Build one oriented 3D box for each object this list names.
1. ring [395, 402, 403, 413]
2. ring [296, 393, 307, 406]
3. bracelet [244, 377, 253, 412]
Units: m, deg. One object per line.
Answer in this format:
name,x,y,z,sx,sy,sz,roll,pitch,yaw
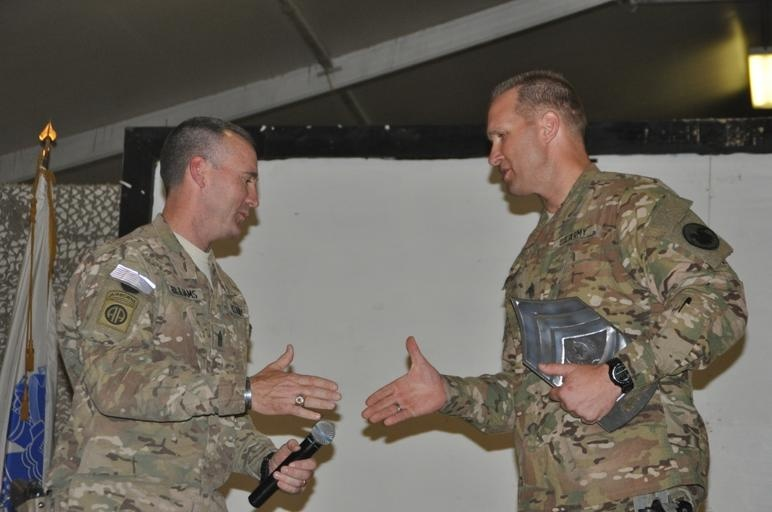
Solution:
ring,0.062,0.745,4.426,0.009,0.035,0.036,-21,18,-39
ring,-0.406,0.688,4.283,0.052,0.051,0.014,-1,-11,5
bracelet,-0.651,0.655,4.245,0.037,0.112,0.101,-4,-11,-6
